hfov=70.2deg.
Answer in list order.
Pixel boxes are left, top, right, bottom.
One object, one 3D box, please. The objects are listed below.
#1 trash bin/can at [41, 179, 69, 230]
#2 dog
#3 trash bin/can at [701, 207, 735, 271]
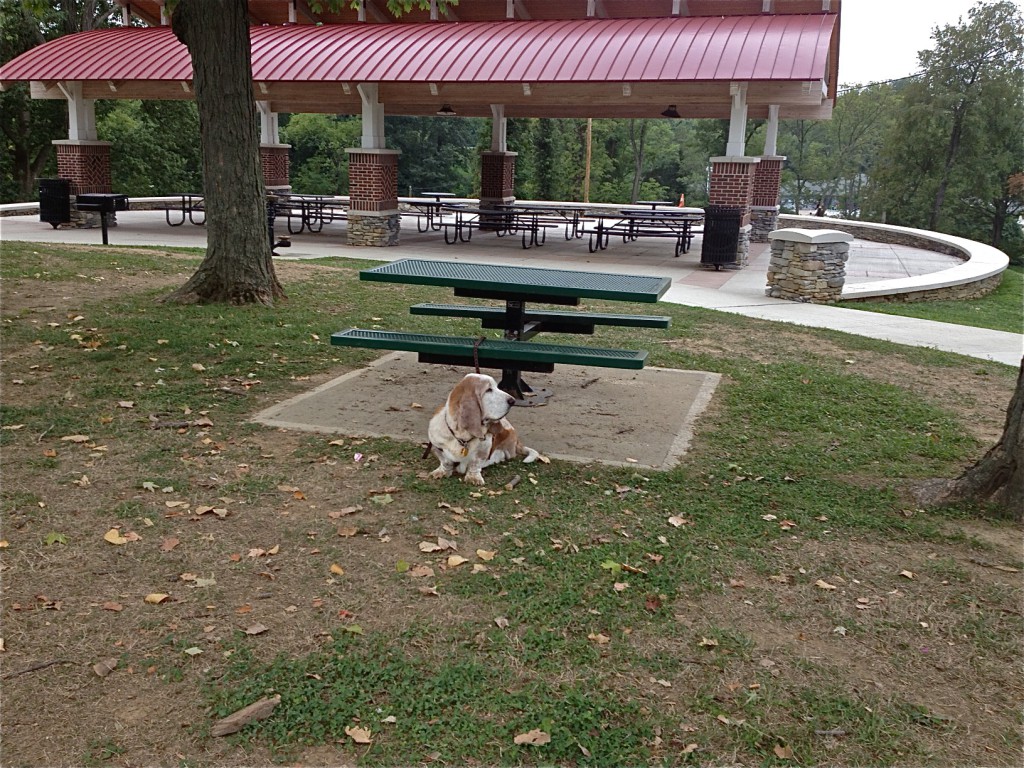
[{"bbox_3d":[-14.959,-5.905,23.832,0.933,1.529,0.662,-3,17,-19],"label":"trash bin/can"},{"bbox_3d":[-0.049,0.348,6.030,1.020,0.618,0.782,9,15,41],"label":"dog"},{"bbox_3d":[5.672,-3.957,19.724,0.955,1.693,0.401,6,17,13],"label":"trash bin/can"}]
